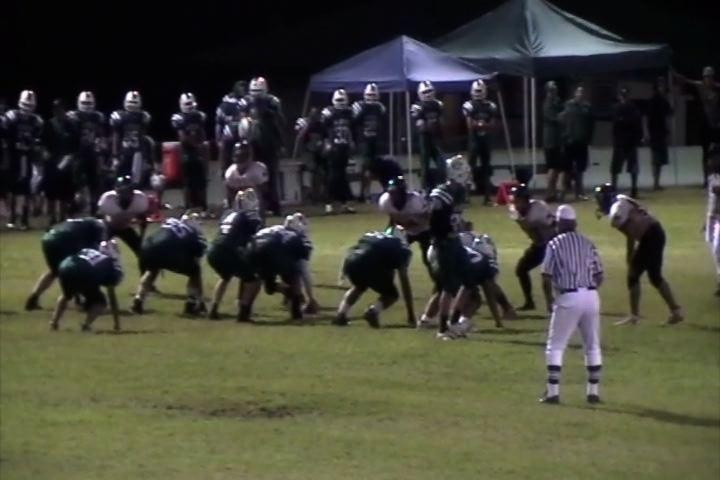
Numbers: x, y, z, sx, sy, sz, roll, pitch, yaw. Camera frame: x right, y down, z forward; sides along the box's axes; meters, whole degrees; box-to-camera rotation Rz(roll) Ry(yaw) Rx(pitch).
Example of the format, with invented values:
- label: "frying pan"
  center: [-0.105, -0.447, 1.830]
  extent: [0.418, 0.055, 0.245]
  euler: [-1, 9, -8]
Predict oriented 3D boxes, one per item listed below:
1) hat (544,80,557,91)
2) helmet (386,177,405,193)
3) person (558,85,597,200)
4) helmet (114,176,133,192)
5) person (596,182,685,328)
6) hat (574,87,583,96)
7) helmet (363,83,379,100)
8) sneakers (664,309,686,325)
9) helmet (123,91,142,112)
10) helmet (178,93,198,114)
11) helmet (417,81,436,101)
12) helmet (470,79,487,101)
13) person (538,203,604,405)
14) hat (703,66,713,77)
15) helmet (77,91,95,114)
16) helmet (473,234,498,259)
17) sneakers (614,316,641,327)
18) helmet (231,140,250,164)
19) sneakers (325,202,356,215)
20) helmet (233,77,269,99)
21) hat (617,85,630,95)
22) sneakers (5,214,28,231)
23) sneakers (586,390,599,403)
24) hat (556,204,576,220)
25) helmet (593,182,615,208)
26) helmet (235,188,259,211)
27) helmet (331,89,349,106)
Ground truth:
- label: "hat"
  center: [2.071, -1.678, 12.157]
  extent: [0.117, 0.117, 0.246]
  euler: [1, 3, 15]
- label: "helmet"
  center: [0.352, -0.542, 11.032]
  extent: [0.151, 0.155, 0.180]
  euler: [-6, -9, -13]
- label: "person"
  center: [2.408, -1.074, 12.459]
  extent: [0.357, 1.220, 0.822]
  euler: [1, 3, 11]
- label: "helmet"
  center: [-2.433, -0.582, 11.495]
  extent: [0.178, 0.149, 0.165]
  euler: [0, -2, 12]
- label: "person"
  center: [2.742, 0.144, 11.067]
  extent: [0.742, 1.410, 0.717]
  euler: [2, 3, 30]
- label: "hat"
  center: [2.352, -1.615, 12.062]
  extent: [0.081, 0.072, 0.099]
  euler: [-1, -1, 23]
- label: "helmet"
  center: [0.138, -1.837, 13.772]
  extent: [0.176, 0.171, 0.195]
  euler: [-1, 2, -4]
- label: "sneakers"
  center: [3.138, 0.757, 11.141]
  extent: [0.264, 0.168, 0.089]
  euler: [-7, 38, 24]
- label: "helmet"
  center: [-2.797, -1.719, 13.832]
  extent: [0.217, 0.233, 0.146]
  euler: [-3, 4, -15]
- label: "helmet"
  center: [-2.136, -1.675, 13.593]
  extent: [0.202, 0.225, 0.263]
  euler: [-11, 9, -39]
- label: "helmet"
  center: [0.777, -1.745, 13.058]
  extent: [0.188, 0.192, 0.226]
  euler: [-3, 0, -9]
- label: "helmet"
  center: [1.371, -1.753, 12.952]
  extent: [0.172, 0.172, 0.204]
  euler: [-1, 2, 2]
- label: "person"
  center: [1.825, 0.570, 9.660]
  extent: [0.510, 1.730, 0.373]
  euler: [0, 2, 5]
- label: "hat"
  center: [3.610, -1.753, 11.608]
  extent: [0.117, 0.098, 0.105]
  euler: [3, 8, 17]
- label: "helmet"
  center: [-3.275, -1.665, 13.381]
  extent: [0.240, 0.247, 0.265]
  euler: [0, 8, -7]
- label: "helmet"
  center: [1.225, 0.060, 10.962]
  extent: [0.196, 0.234, 0.319]
  euler: [0, 3, 7]
- label: "sneakers"
  center: [2.734, 0.813, 11.254]
  extent: [0.345, 0.121, 0.100]
  euler: [2, 6, 18]
- label: "helmet"
  center: [-1.270, -0.951, 12.049]
  extent: [0.207, 0.228, 0.195]
  euler: [-1, 36, -4]
- label: "sneakers"
  center: [-0.245, -0.413, 14.489]
  extent: [0.477, 0.055, 0.104]
  euler: [4, -12, 27]
- label: "helmet"
  center: [-1.337, -1.834, 13.429]
  extent: [0.422, 0.159, 0.252]
  euler: [-2, 10, 5]
- label: "hat"
  center: [2.803, -1.596, 11.881]
  extent: [0.092, 0.041, 0.115]
  euler: [16, -8, -10]
- label: "sneakers"
  center: [-4.096, -0.198, 13.417]
  extent: [0.259, 0.213, 0.145]
  euler: [3, -7, -4]
- label: "sneakers"
  center: [2.061, 1.391, 9.905]
  extent: [0.122, 0.094, 0.132]
  euler: [-2, 5, 4]
- label: "hat"
  center: [1.782, -0.247, 9.722]
  extent: [0.142, 0.095, 0.192]
  euler: [2, 8, 12]
- label: "helmet"
  center: [2.428, -0.446, 11.096]
  extent: [0.208, 0.216, 0.251]
  euler: [2, -4, -32]
- label: "helmet"
  center: [-1.192, -0.408, 11.545]
  extent: [0.288, 0.240, 0.191]
  euler: [7, -5, -30]
- label: "helmet"
  center: [-0.261, -1.841, 14.488]
  extent: [0.174, 0.168, 0.207]
  euler: [1, -4, -4]
